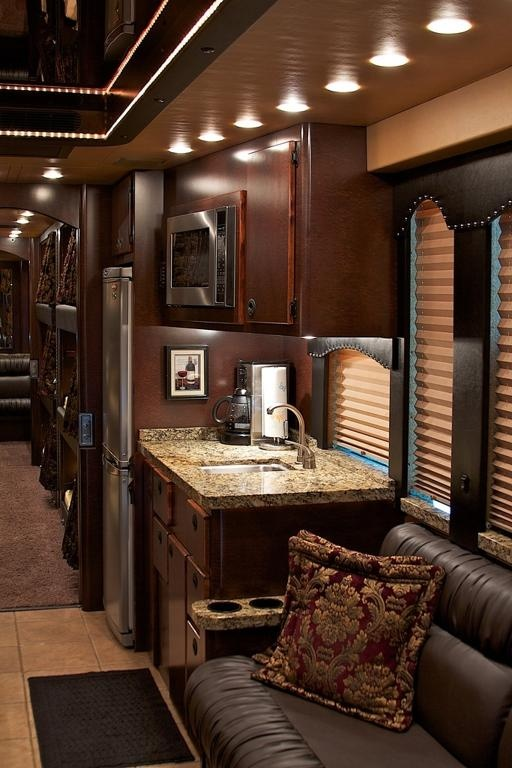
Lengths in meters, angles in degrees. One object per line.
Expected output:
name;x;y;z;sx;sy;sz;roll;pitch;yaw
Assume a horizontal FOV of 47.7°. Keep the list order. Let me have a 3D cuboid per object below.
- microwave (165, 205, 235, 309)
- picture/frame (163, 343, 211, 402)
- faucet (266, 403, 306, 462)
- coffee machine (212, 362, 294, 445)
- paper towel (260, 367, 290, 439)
microwave;-0.230;-0.594;2.784;0.207;0.448;0.540;-3;9;-40
picture/frame;-0.387;-0.057;3.237;0.230;0.343;0.033;0;-27;-9
faucet;0.146;0.239;2.656;0.182;0.312;0.140;3;23;14
coffee machine;-0.035;0.106;3.158;0.372;0.469;0.263;0;5;-23
paper towel;0.129;0.101;3.070;0.139;0.413;0.107;11;9;27
